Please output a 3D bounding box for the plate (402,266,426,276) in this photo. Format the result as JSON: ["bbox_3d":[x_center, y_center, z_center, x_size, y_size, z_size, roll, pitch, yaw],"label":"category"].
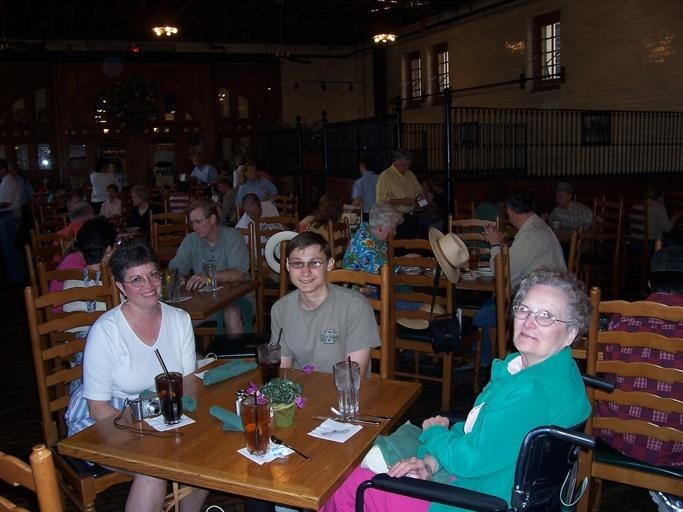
[{"bbox_3d":[0.684,0.117,5.060,0.173,0.041,0.097,10,30,10],"label":"plate"}]

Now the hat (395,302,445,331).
[{"bbox_3d":[0.655,0.518,4.422,0.271,0.129,0.273,1,10,41],"label":"hat"}]

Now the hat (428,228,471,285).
[{"bbox_3d":[0.825,-0.046,4.179,0.131,0.393,0.371,-30,-38,27],"label":"hat"}]

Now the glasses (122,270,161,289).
[{"bbox_3d":[-0.994,0.123,2.707,0.179,0.081,0.107,-7,15,-26],"label":"glasses"}]

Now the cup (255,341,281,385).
[{"bbox_3d":[-0.325,0.511,2.490,0.106,0.167,0.102,-6,-10,-1],"label":"cup"}]

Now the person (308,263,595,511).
[{"bbox_3d":[0.534,0.421,2.649,1.180,1.448,0.757,9,14,24],"label":"person"}]

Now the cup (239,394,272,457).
[{"bbox_3d":[-0.327,0.630,2.081,0.108,0.207,0.201,-3,14,-9],"label":"cup"}]

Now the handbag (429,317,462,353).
[{"bbox_3d":[0.745,0.569,3.883,0.229,0.238,0.141,-6,-7,-1],"label":"handbag"}]
